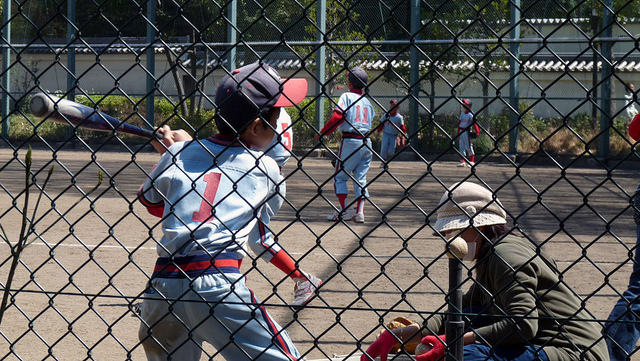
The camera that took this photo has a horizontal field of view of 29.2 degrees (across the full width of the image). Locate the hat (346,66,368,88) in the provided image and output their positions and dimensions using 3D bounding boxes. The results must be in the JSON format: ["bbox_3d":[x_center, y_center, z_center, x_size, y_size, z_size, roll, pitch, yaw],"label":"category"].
[{"bbox_3d":[0.983,-2.865,32.782,0.491,0.349,0.618,-4,40,-30],"label":"hat"}]

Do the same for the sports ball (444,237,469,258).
[{"bbox_3d":[3.060,1.463,27.512,0.410,0.385,0.517,7,14,-13],"label":"sports ball"}]
